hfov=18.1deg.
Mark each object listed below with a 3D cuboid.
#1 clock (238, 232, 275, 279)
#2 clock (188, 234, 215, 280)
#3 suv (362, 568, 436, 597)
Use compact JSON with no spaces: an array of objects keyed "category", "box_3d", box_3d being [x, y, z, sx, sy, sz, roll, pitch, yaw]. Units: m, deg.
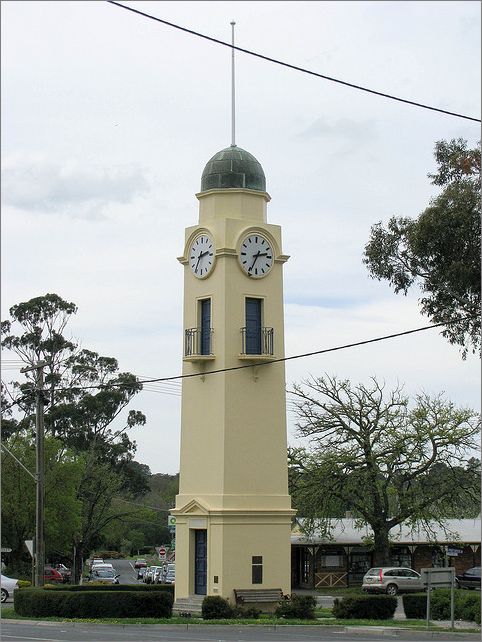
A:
[{"category":"clock","box_3d":[0.535,-2.575,60.006,1.456,1.645,0.197,11,-13,-41]},{"category":"clock","box_3d":[-1.556,-2.550,60.309,0.176,1.911,1.423,6,-10,-31]},{"category":"suv","box_3d":[7.274,12.190,70.688,2.601,1.262,1.525,0,-9,-7]}]
